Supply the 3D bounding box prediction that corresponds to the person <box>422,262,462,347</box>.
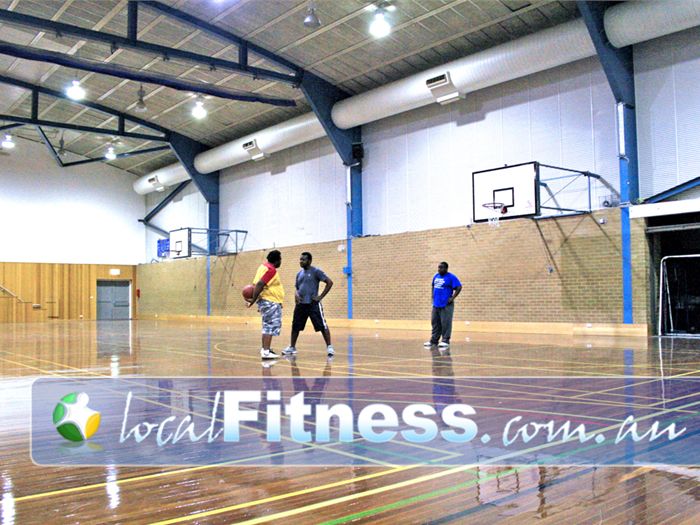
[{"bbox_3d":[1.788,0.796,10.633,0.684,1.629,0.906,-2,-4,8],"label":"person"}]
